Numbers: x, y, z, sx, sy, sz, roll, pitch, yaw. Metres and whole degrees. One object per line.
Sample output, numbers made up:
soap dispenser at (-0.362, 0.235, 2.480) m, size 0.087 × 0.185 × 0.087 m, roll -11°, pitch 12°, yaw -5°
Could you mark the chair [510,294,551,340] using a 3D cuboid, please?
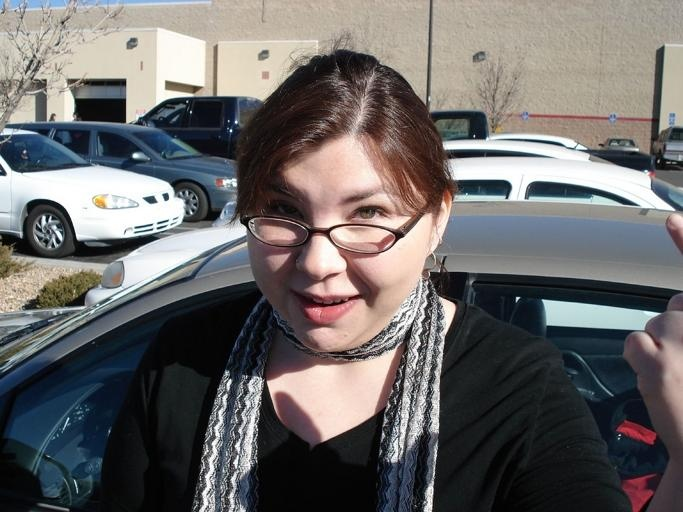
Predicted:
chair at (0.748, 0.233, 2.508) m, size 0.136 × 0.207 × 0.182 m, roll 3°, pitch 3°, yaw 16°
